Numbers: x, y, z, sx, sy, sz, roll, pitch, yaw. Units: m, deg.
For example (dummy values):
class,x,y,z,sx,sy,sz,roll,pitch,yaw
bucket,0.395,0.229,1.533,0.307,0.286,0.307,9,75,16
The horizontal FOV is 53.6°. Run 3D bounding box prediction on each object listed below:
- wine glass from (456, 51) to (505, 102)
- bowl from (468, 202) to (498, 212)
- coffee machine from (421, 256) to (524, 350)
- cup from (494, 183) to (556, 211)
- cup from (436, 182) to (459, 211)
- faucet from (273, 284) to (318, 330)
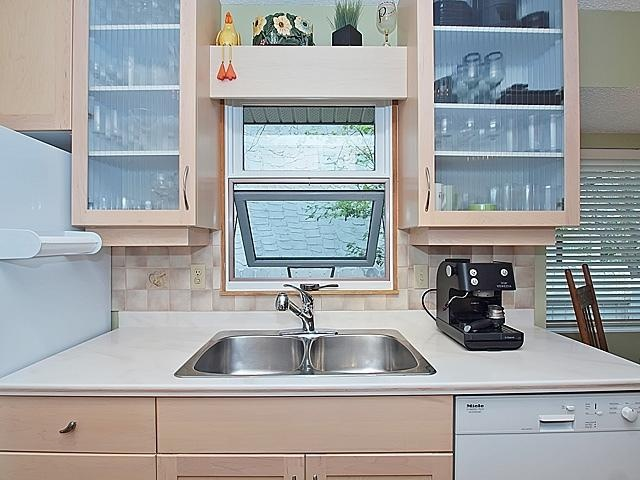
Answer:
class,x,y,z,sx,sy,sz,roll,pitch,yaw
wine glass,0.785,-0.792,3.152,0.206,0.266,0.083,2,3,1
bowl,0.796,-0.162,3.087,0.140,0.036,0.033,-1,4,-11
coffee machine,0.764,0.302,3.145,0.342,0.408,0.460,-1,4,-12
cup,1.004,-0.209,3.047,0.266,0.107,0.139,0,2,2
cup,0.613,-0.208,3.005,0.137,0.153,0.099,1,0,-1
faucet,-0.118,0.345,3.240,0.183,0.237,0.389,0,4,-1
